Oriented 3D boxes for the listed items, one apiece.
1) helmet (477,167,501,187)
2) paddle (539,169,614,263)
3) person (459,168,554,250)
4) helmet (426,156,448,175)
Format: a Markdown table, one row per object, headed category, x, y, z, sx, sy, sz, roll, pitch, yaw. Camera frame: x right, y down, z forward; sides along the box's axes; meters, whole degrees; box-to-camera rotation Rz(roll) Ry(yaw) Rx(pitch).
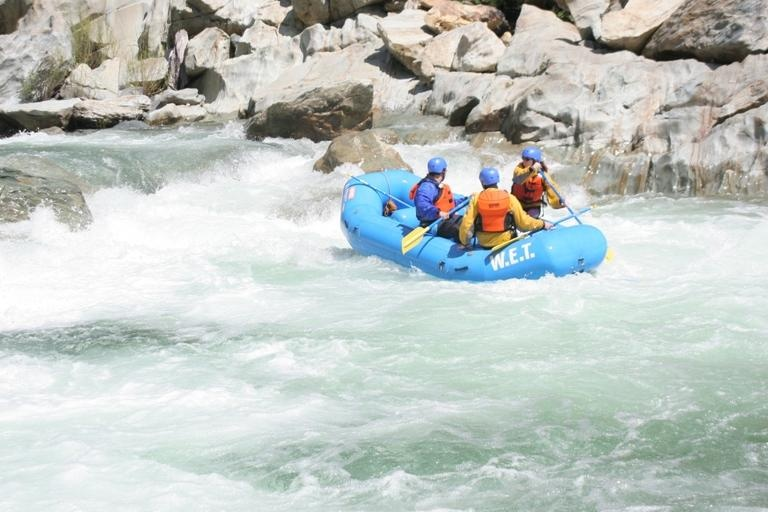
| category | x | y | z | sx | sy | sz | roll | pitch | yaw |
| --- | --- | --- | --- | --- | --- | --- | --- | --- | --- |
| helmet | 1.540 | -1.136 | 13.198 | 0.280 | 0.276 | 0.307 | -6 | 35 | -11 |
| paddle | 3.165 | -0.618 | 14.651 | 0.270 | 0.422 | 2.178 | -36 | 68 | -21 |
| person | 1.690 | -0.506 | 13.467 | 1.357 | 1.505 | 0.979 | 8 | 23 | 31 |
| helmet | 0.835 | -1.396 | 13.933 | 0.263 | 0.206 | 0.296 | 9 | 25 | 19 |
